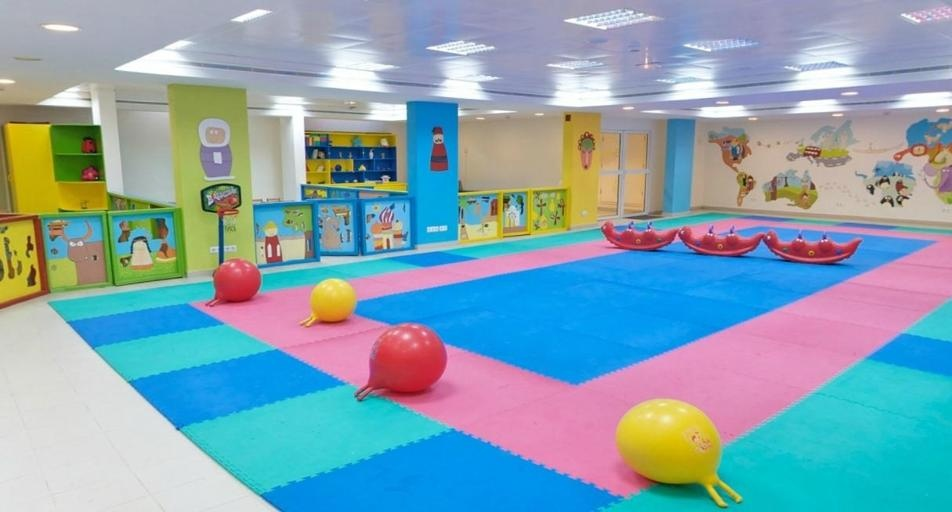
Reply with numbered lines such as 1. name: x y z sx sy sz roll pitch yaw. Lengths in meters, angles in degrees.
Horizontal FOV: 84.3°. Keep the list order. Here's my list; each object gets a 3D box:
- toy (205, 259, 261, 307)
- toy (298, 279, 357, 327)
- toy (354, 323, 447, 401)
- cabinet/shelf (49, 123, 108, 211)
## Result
1. toy: -4.979 0.608 11.172 1.115 0.774 0.817 -31 -29 10
2. toy: -2.882 0.927 10.350 1.079 0.785 0.793 -29 9 4
3. toy: -1.259 1.636 8.338 1.366 0.960 0.960 -36 19 -5
4. cabinet/shelf: -10.997 -2.341 14.593 1.426 2.286 0.812 -3 14 -23
